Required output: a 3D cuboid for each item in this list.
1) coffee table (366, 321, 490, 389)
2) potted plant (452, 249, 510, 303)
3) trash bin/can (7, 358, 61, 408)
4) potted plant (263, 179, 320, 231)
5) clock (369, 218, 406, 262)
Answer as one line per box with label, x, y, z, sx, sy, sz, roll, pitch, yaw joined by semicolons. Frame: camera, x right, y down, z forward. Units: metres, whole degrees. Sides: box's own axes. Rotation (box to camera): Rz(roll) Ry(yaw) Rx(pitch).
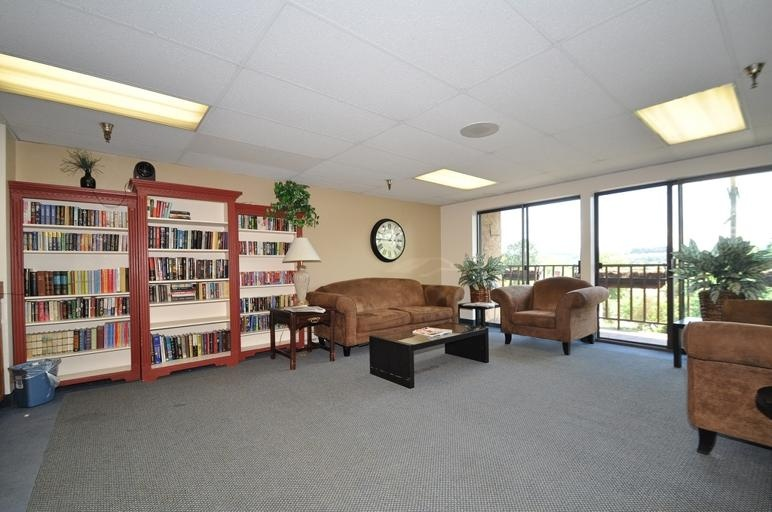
coffee table;0.581;1.268;5.995;1.477;0.575;0.711;0;-4;-39
potted plant;1.632;0.403;8.270;0.882;0.791;0.844;5;-9;-20
trash bin/can;-3.874;1.436;5.195;0.415;0.490;0.507;-1;-6;23
potted plant;-1.325;-0.738;6.933;0.757;0.505;0.763;19;2;34
clock;-0.016;-0.277;8.443;0.842;0.781;0.159;2;-6;-45
